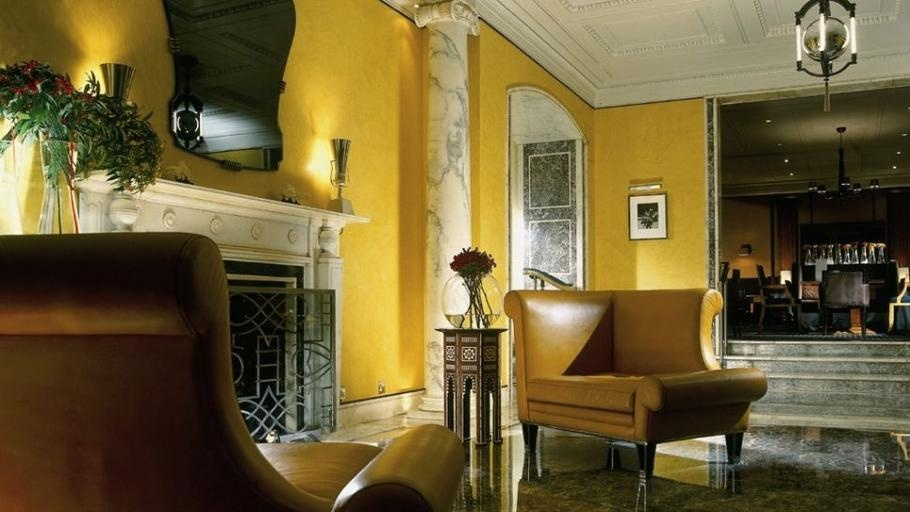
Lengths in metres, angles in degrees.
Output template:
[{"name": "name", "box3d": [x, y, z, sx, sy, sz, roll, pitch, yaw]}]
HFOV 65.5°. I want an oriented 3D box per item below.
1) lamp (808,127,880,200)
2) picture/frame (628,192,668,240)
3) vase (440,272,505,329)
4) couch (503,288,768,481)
[{"name": "lamp", "box3d": [7.627, -1.862, 13.898, 0.993, 1.016, 0.963, 0, -10, 4]}, {"name": "picture/frame", "box3d": [2.779, -0.568, 10.091, 0.687, 0.859, 0.037, -2, -7, 27]}, {"name": "vase", "box3d": [0.151, 0.365, 5.934, 0.530, 0.511, 0.545, 0, 4, 14]}, {"name": "couch", "box3d": [1.334, 0.881, 5.405, 1.203, 1.179, 1.599, 1, -1, -36]}]
